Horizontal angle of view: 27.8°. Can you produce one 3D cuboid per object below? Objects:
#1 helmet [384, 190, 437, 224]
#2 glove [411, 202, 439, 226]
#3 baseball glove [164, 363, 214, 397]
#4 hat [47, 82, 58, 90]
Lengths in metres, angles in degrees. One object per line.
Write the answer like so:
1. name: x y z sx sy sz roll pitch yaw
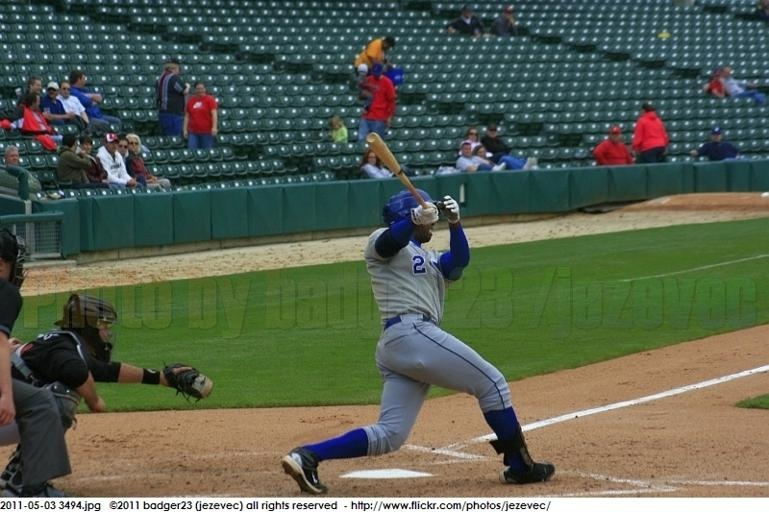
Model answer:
1. helmet: 0.316 -0.739 22.525 0.668 0.457 0.440 -18 -4 -9
2. glove: 0.595 -0.600 22.162 0.297 0.183 0.374 19 12 -14
3. baseball glove: -2.850 1.795 22.654 0.632 0.261 0.472 25 22 20
4. hat: -6.798 -3.527 31.970 0.292 0.146 0.427 4 3 -11
